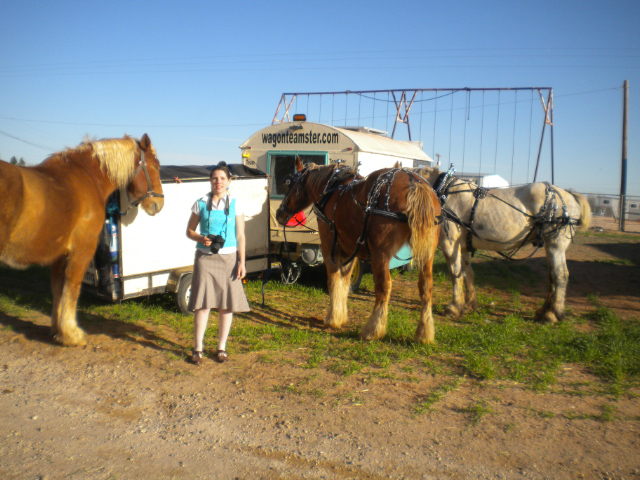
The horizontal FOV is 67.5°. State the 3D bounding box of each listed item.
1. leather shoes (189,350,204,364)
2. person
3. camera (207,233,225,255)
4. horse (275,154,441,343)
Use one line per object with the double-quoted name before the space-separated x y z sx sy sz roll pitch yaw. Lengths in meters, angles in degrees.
"leather shoes" -1.535 1.466 6.006 0.097 0.102 0.210 0 3 -6
"person" -1.265 0.294 5.888 0.712 2.502 0.568 -2 10 -17
"camera" -1.221 0.042 5.651 0.117 0.259 0.092 2 -16 -4
"horse" 0.494 0.061 7.619 0.924 2.817 3.323 -2 3 -37
